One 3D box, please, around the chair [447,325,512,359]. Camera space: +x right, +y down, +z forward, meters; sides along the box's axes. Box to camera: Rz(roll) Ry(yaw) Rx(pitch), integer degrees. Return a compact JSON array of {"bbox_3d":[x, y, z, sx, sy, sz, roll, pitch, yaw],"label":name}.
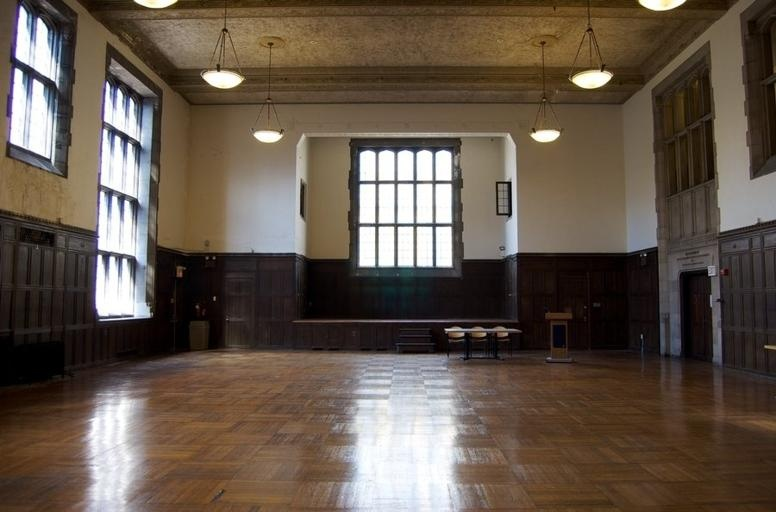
[{"bbox_3d":[2.749,2.474,16.554,1.669,0.739,1.206,0,1,2],"label":"chair"}]
